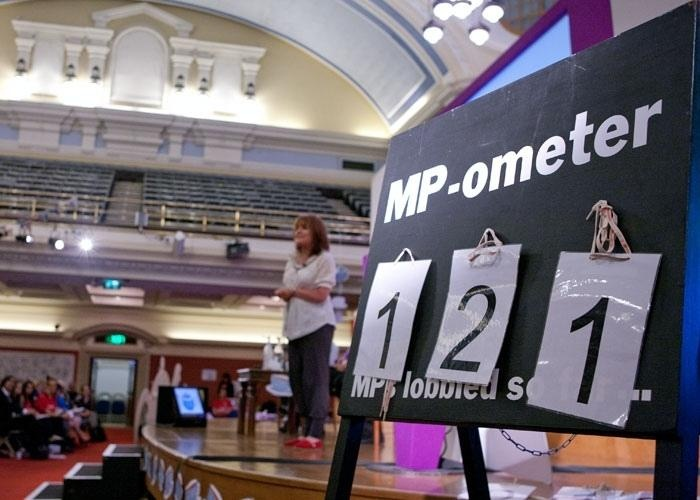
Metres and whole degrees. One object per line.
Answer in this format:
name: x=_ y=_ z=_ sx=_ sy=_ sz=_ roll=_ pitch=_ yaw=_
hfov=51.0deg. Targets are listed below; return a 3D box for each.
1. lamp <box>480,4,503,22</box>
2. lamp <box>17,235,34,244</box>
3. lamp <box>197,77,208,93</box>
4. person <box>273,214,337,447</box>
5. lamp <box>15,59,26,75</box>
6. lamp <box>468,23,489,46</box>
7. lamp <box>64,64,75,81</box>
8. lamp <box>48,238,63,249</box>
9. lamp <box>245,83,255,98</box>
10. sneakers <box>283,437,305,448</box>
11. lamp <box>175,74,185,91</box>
lamp: x=1.371 y=-2.322 z=7.118 sx=0.181 sy=0.145 sz=0.259 roll=5 pitch=-8 yaw=-7
lamp: x=-3.943 y=-0.150 z=9.045 sx=0.200 sy=0.097 sz=0.266 roll=7 pitch=-9 yaw=-20
lamp: x=-2.171 y=-2.537 z=11.191 sx=0.180 sy=0.286 sz=0.183 roll=2 pitch=5 yaw=9
person: x=-0.198 y=0.359 z=3.305 sx=0.266 sy=1.033 sz=0.286 roll=4 pitch=-8 yaw=1
lamp: x=-4.644 y=-2.666 z=10.593 sx=0.135 sy=0.255 sz=0.070 roll=8 pitch=-9 yaw=-26
lamp: x=1.345 y=-2.298 z=7.735 sx=0.179 sy=0.166 sz=0.284 roll=3 pitch=-8 yaw=5
lamp: x=-4.010 y=-2.626 z=10.743 sx=0.091 sy=0.295 sz=0.065 roll=3 pitch=-11 yaw=-25
lamp: x=-3.585 y=-0.100 z=9.149 sx=0.199 sy=0.140 sz=0.336 roll=7 pitch=-9 yaw=-21
lamp: x=-1.471 y=-2.479 z=11.447 sx=0.191 sy=0.213 sz=0.195 roll=-1 pitch=-14 yaw=1
sneakers: x=-0.235 y=0.866 z=3.332 sx=0.053 sy=0.055 sz=0.147 roll=7 pitch=-9 yaw=-34
lamp: x=-2.530 y=-2.573 z=11.161 sx=0.149 sy=0.257 sz=0.044 roll=8 pitch=-9 yaw=-30
